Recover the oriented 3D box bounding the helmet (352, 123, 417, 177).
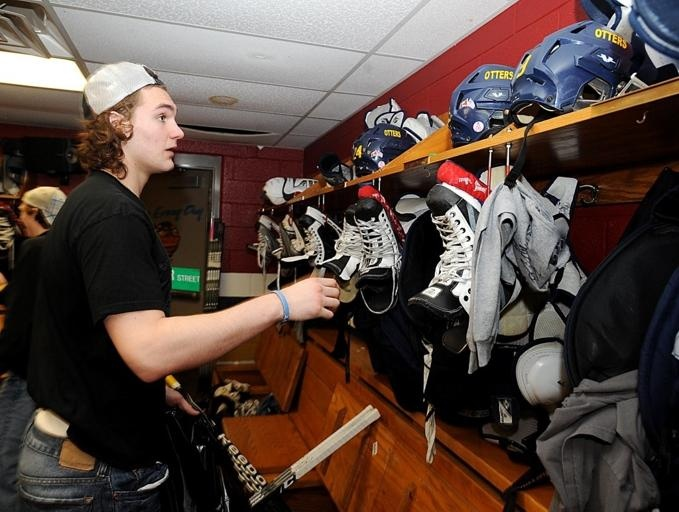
[{"bbox_3d":[0.226,-0.530,2.373,0.317,0.237,0.226,4,11,13],"label":"helmet"}]

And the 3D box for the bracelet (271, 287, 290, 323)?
[{"bbox_3d":[-0.157,0.140,1.331,0.026,0.073,0.061,0,6,-32],"label":"bracelet"}]
